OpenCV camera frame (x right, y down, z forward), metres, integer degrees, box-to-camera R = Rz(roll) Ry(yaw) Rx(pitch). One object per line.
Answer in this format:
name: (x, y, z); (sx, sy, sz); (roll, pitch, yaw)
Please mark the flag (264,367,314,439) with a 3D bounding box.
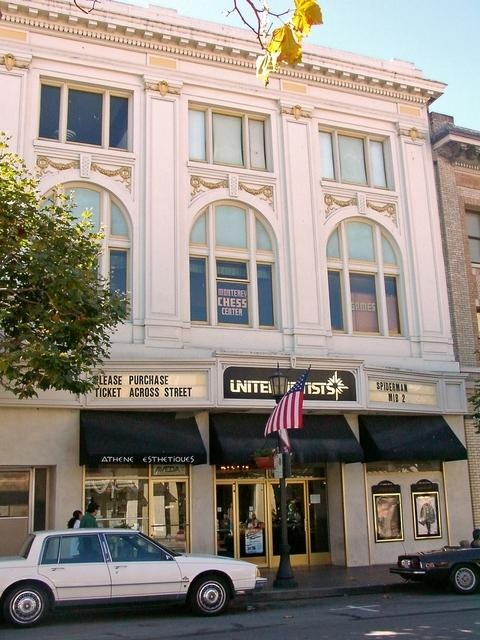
flag: (1.133, 1.900, 15.610); (0.162, 2.004, 1.769); (24, -30, -31)
